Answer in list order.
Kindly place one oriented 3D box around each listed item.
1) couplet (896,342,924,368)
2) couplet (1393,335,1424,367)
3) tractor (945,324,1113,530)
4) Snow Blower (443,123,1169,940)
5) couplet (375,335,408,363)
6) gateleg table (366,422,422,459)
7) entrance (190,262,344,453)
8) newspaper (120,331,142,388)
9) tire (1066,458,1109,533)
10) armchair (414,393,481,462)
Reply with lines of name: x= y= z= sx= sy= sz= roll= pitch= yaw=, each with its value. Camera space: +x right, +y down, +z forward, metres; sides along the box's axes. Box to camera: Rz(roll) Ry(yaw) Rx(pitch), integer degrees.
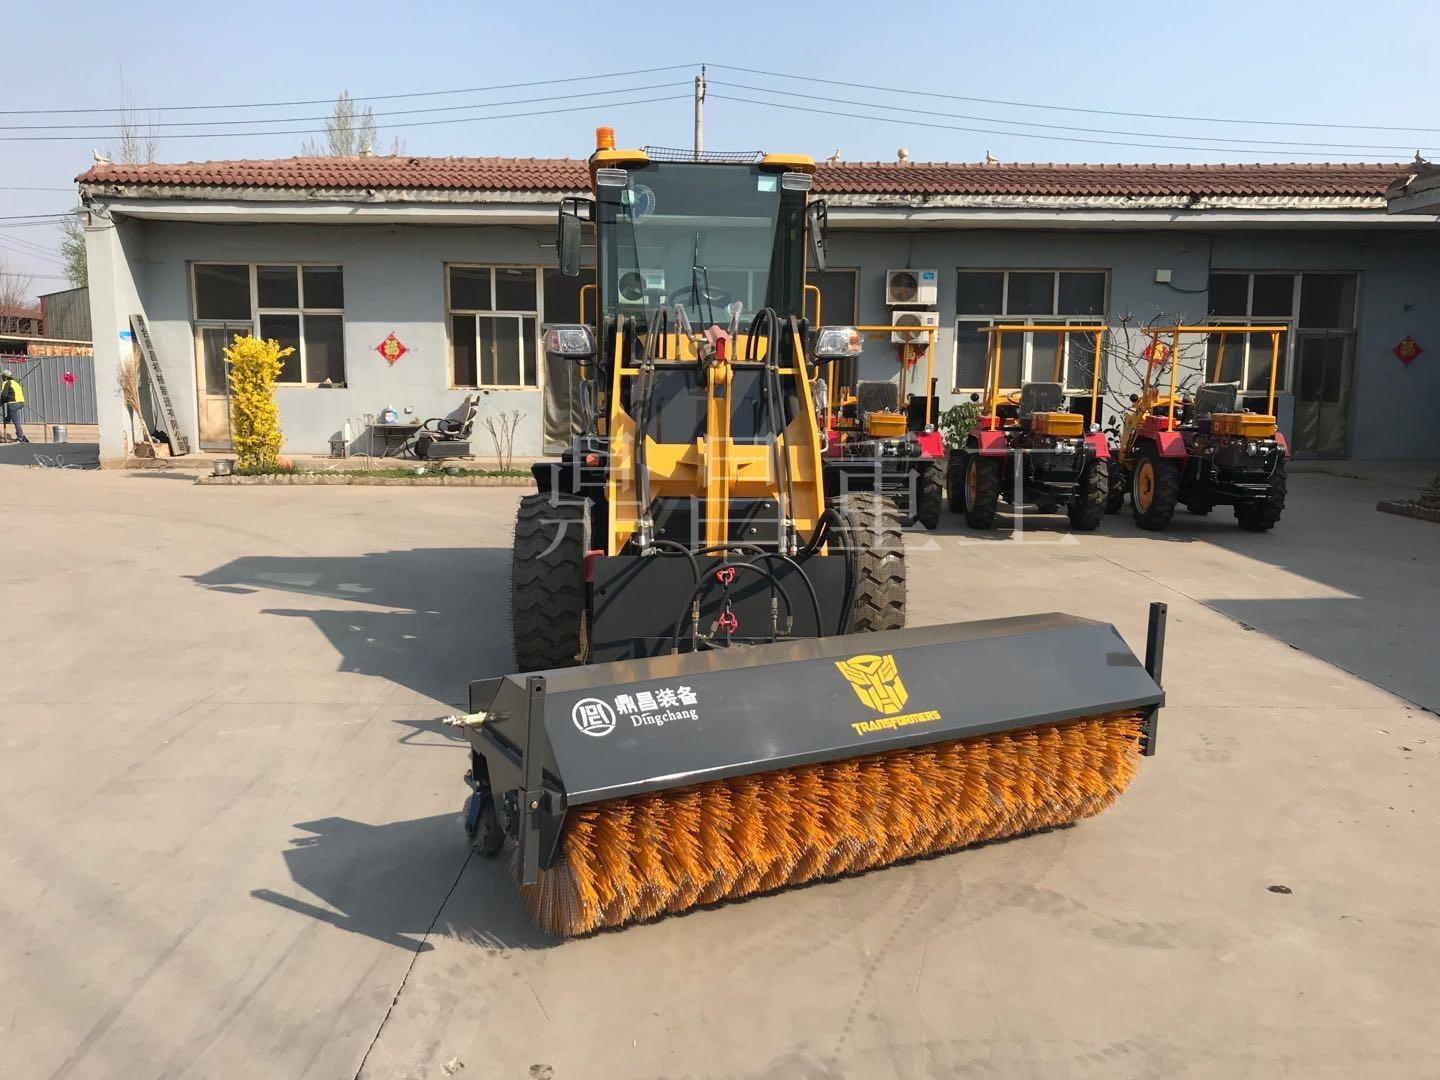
couplet: x=2.622 y=-2.563 z=15.232 sx=0.718 sy=0.311 sz=0.923 roll=1 pitch=7 yaw=9
couplet: x=10.490 y=-2.907 z=16.875 sx=0.502 sy=0.459 sz=0.065 roll=1 pitch=13 yaw=17
tractor: x=3.477 y=-1.125 z=12.904 sx=1.885 sy=2.370 sz=3.259 roll=2 pitch=3 yaw=2
Snow Blower: x=0.048 y=-0.124 z=6.495 sx=3.143 sy=2.632 sz=4.757 roll=-3 pitch=3 yaw=-15
couplet: x=-4.832 y=-2.812 z=16.189 sx=0.458 sy=0.405 sz=0.061 roll=1 pitch=-2 yaw=-10
gateleg table: x=-4.767 y=-1.440 z=16.153 sx=0.709 sy=0.388 sz=0.651 roll=1 pitch=5 yaw=-2
entrance: x=-6.666 y=-2.698 z=16.333 sx=2.203 sy=2.680 sz=0.337 roll=0 pitch=14 yaw=1
newspaper: x=-8.249 y=-2.550 z=15.438 sx=0.204 sy=0.733 sz=0.617 roll=-5 pitch=13 yaw=-19
tire: x=3.778 y=-0.481 z=11.414 sx=0.255 sy=0.725 sz=0.771 roll=5 pitch=-5 yaw=-2
armchair: x=-3.922 y=-1.584 z=16.147 sx=0.864 sy=0.789 sz=0.591 roll=-16 pitch=8 yaw=-15
